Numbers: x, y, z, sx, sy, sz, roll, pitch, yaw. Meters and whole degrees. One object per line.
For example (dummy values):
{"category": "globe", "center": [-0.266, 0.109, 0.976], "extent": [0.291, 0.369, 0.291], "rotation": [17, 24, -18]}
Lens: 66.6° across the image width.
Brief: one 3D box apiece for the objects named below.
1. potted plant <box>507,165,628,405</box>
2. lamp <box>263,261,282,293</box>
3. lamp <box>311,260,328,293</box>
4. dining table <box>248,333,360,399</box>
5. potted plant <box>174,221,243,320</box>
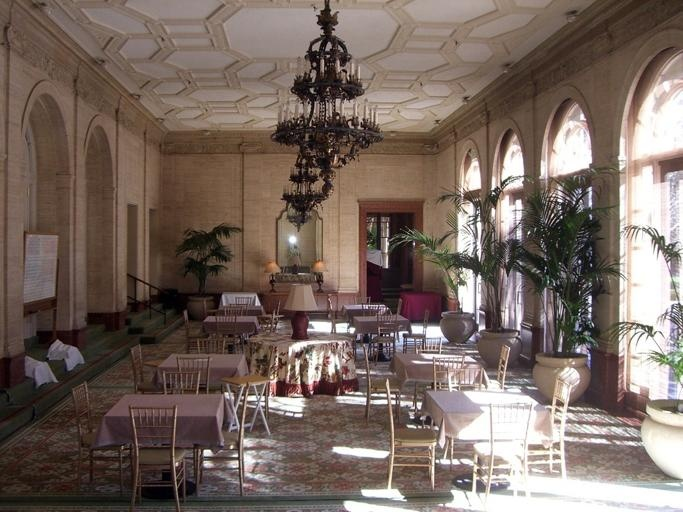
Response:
{"category": "potted plant", "center": [3.670, 0.582, 8.688], "extent": [1.854, 3.471, 1.952], "rotation": [10, -9, -35]}
{"category": "lamp", "center": [-2.235, 0.590, 16.907], "extent": [0.787, 1.221, 0.787], "rotation": [0, 1, -2]}
{"category": "lamp", "center": [-0.785, 0.638, 17.195], "extent": [0.466, 1.043, 0.494], "rotation": [2, -1, 12]}
{"category": "dining table", "center": [-0.665, 1.907, 9.440], "extent": [1.926, 0.852, 1.940], "rotation": [-2, -1, 11]}
{"category": "potted plant", "center": [-4.172, 0.501, 16.518], "extent": [2.003, 3.011, 2.026], "rotation": [7, -10, -35]}
